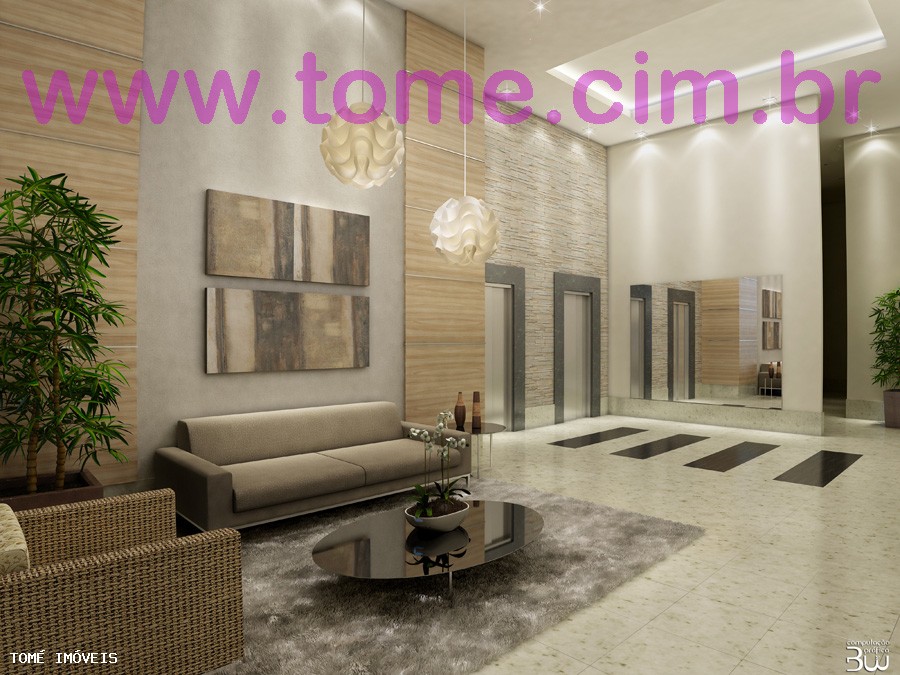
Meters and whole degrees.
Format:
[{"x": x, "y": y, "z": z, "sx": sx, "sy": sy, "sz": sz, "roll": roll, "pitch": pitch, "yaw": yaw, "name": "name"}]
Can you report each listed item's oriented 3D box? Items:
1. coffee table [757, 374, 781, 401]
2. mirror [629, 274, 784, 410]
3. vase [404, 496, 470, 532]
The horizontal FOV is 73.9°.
[{"x": 5.209, "y": 0.814, "z": 9.788, "sx": 0.138, "sy": 0.382, "sz": 0.413, "roll": 4, "pitch": -5, "yaw": -41, "name": "coffee table"}, {"x": 4.532, "y": 0.082, "z": 10.388, "sx": 2.478, "sy": 2.089, "sz": 0.097, "roll": -1, "pitch": -2, "yaw": 42, "name": "mirror"}, {"x": -0.075, "y": 1.267, "z": 4.449, "sx": 0.336, "sy": 0.119, "sz": 0.282, "roll": 3, "pitch": -7, "yaw": -34, "name": "vase"}]
